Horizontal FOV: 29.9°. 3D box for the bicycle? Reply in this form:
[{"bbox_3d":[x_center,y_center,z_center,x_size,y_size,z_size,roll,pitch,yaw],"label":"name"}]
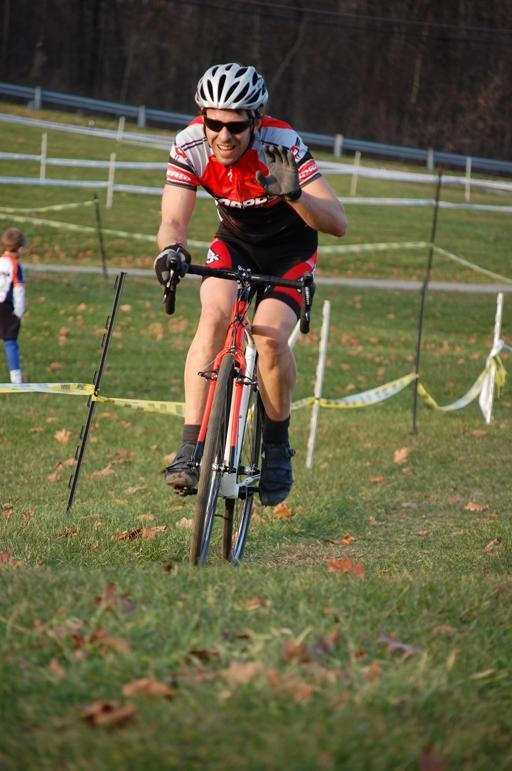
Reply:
[{"bbox_3d":[-0.126,0.201,4.425,0.616,1.507,1.011,7,10,2],"label":"bicycle"}]

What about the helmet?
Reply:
[{"bbox_3d":[-0.100,-1.243,4.035,0.283,0.187,0.158,5,10,-4],"label":"helmet"}]

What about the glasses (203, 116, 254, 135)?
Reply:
[{"bbox_3d":[-0.123,-1.099,4.079,0.203,0.072,0.091,4,10,-3],"label":"glasses"}]

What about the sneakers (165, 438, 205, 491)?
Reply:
[{"bbox_3d":[-0.323,0.373,4.246,0.152,0.262,0.200,5,10,-5],"label":"sneakers"}]

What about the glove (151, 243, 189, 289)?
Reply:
[{"bbox_3d":[-0.336,-0.492,3.934,0.148,0.077,0.177,-5,44,19],"label":"glove"}]
